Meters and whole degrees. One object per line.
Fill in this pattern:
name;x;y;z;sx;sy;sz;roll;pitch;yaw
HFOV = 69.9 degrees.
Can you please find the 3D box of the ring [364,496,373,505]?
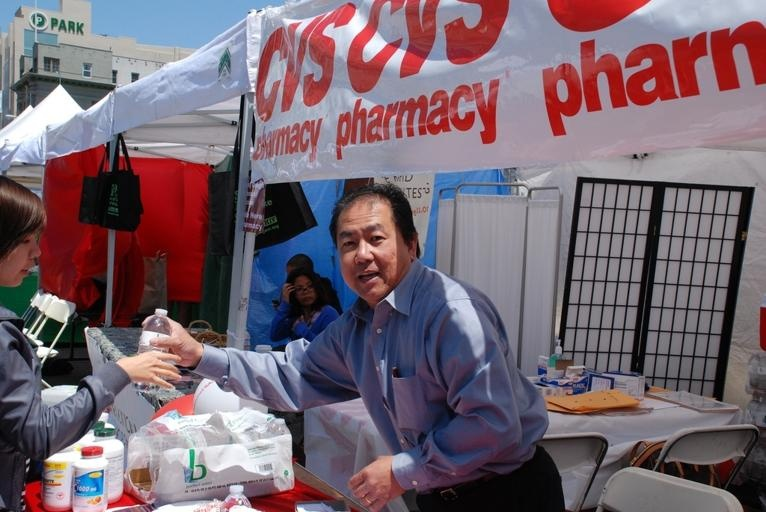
ring;-0.047;0.943;2.099;0.028;0.026;0.014;1;-5;18
